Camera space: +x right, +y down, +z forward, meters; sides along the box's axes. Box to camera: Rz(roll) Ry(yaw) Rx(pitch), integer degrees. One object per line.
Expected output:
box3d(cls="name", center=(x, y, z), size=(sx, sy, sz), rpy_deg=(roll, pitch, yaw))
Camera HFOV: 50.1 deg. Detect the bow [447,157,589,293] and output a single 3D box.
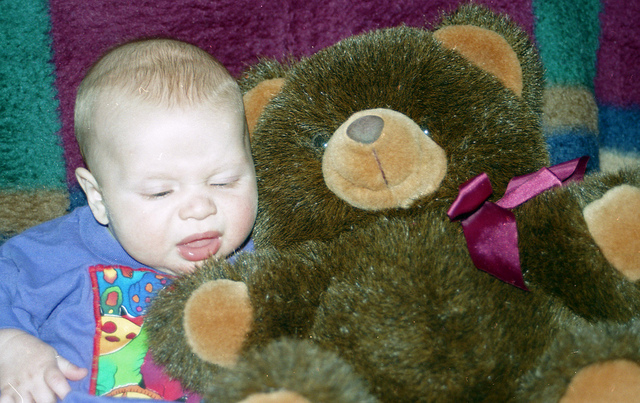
box3d(cls="bow", center=(0.399, 0.029, 1.522), size=(0.226, 0.249, 0.289), rpy_deg=(-9, 18, -39))
